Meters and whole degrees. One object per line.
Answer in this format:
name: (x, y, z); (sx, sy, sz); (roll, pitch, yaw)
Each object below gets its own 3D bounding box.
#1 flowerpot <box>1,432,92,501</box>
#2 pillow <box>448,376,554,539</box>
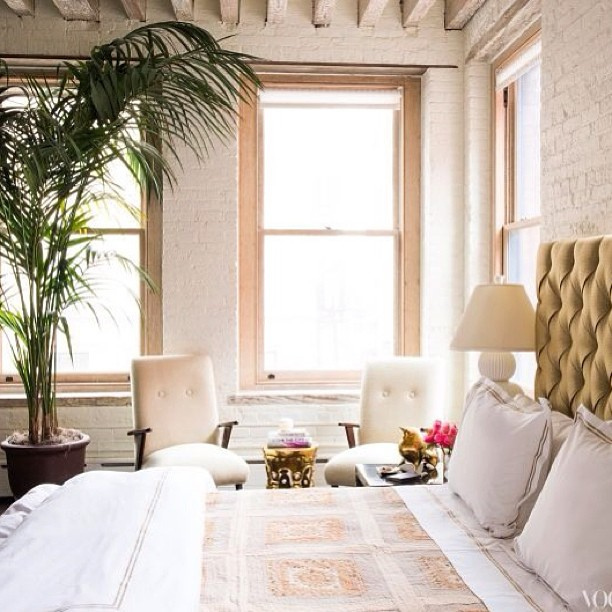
flowerpot: (-1.324, 0.766, 3.065); (0.349, 0.246, 0.349); (-6, -8, 37)
pillow: (0.661, 0.507, 2.107); (0.223, 0.436, 0.620); (10, 3, -5)
